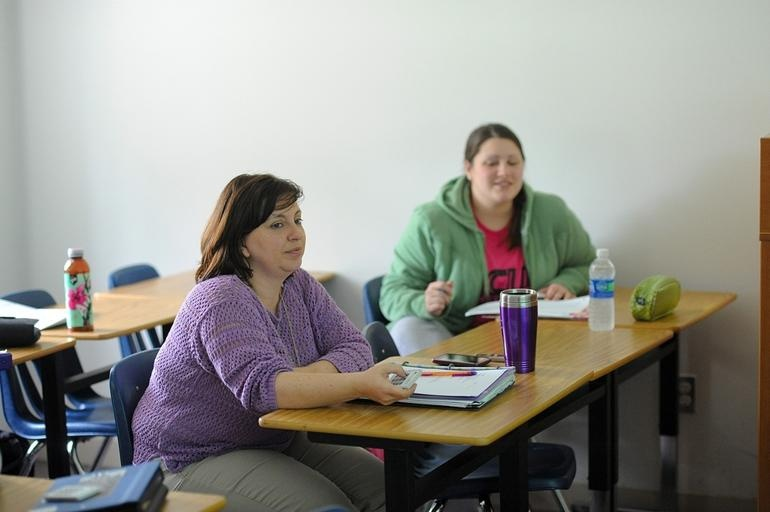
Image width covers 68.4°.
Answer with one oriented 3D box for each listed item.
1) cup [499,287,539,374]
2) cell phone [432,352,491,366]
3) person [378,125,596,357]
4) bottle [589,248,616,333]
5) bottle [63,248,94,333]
[{"bbox_3d":[0.394,0.220,1.651,0.108,0.239,0.145,0,4,4],"label":"cup"},{"bbox_3d":[0.232,0.314,1.728,0.096,0.011,0.058,3,10,21],"label":"cell phone"},{"bbox_3d":[0.518,-0.039,3.103,1.250,1.439,1.036,0,8,2],"label":"person"},{"bbox_3d":[0.818,0.128,2.142,0.085,0.305,0.133,1,4,19],"label":"bottle"},{"bbox_3d":[-1.280,0.137,2.360,0.097,0.337,0.167,-3,5,-31],"label":"bottle"}]
